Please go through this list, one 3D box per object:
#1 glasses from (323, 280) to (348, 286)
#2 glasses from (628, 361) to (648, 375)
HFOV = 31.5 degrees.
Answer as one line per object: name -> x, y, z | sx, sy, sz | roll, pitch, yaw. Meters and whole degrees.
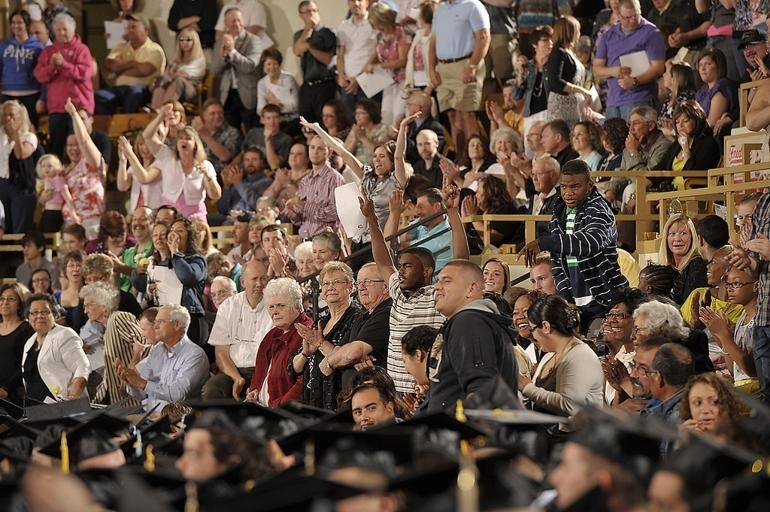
glasses -> -0.481, 0.247, 12.996 | 0.205, 0.057, 0.063 | 0, 2, 6
glasses -> 2.104, 0.926, 11.414 | 0.047, 0.089, 0.164 | -1, 2, -28
